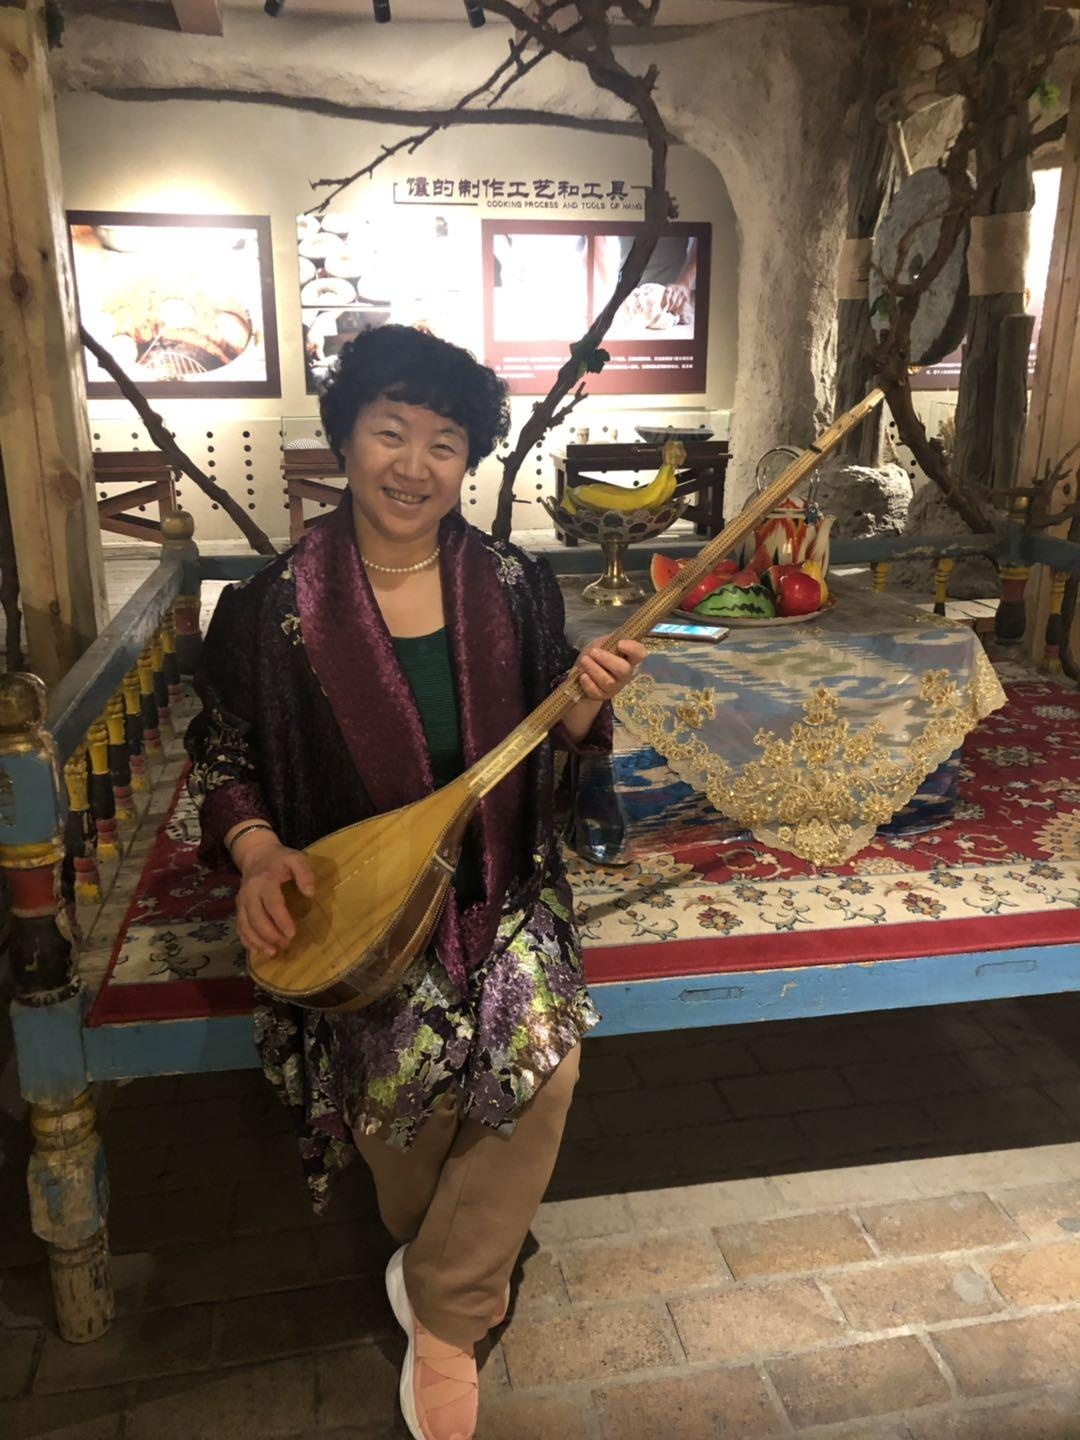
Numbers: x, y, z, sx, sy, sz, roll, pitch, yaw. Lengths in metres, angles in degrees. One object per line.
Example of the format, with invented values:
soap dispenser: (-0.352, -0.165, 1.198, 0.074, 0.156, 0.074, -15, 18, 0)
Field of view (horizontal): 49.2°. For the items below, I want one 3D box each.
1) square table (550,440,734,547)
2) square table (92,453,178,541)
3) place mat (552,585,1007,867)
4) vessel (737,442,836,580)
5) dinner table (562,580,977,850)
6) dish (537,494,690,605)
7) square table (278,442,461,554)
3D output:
square table: (0.553, -1.275, 6.629, 0.935, 0.498, 0.507, -3, 16, -7)
square table: (-2.535, -1.398, 7.398, 0.433, 0.606, 1.211, -8, 19, -18)
place mat: (0.596, -0.014, 2.662, 0.765, 0.362, 0.684, -7, 26, -12)
vessel: (0.608, -0.477, 2.805, 0.183, 0.301, 0.248, -28, 42, -34)
dinner table: (0.557, -0.021, 2.654, 0.716, 0.337, 0.645, -7, 27, -14)
dish: (0.194, -0.422, 3.021, 0.342, 0.204, 0.333, 20, 35, 33)
square table: (-1.264, -1.344, 7.553, 0.804, 0.665, 0.737, 16, 8, 33)
